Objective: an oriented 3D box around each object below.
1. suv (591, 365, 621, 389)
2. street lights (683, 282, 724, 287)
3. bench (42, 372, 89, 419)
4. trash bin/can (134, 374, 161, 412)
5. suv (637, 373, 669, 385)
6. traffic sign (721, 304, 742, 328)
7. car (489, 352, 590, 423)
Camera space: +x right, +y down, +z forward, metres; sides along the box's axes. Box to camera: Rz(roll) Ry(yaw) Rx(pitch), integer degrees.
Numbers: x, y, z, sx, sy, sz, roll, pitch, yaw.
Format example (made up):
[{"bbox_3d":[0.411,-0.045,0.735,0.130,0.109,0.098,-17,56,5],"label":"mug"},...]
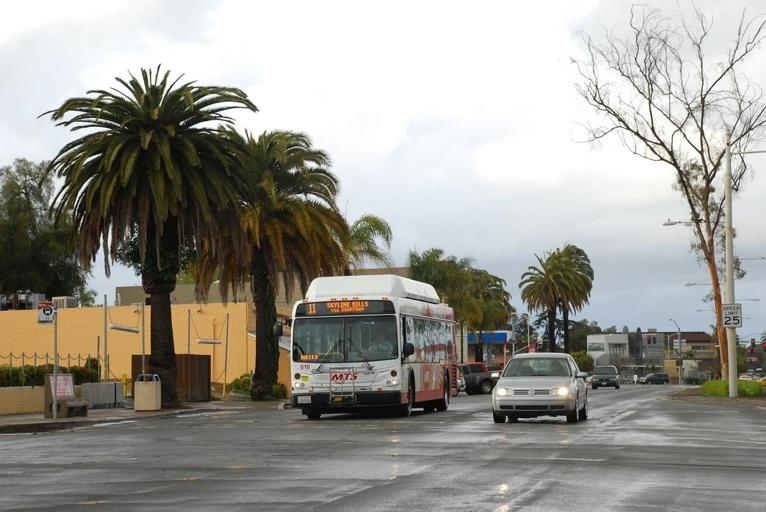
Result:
[{"bbox_3d":[18.465,10.026,75.874,2.009,2.008,3.461,-7,-12,18],"label":"suv"},{"bbox_3d":[10.943,0.948,30.478,1.479,0.155,0.389,1,-2,-1],"label":"street lights"},{"bbox_3d":[-11.861,5.186,34.379,0.795,1.660,1.532,-9,-8,13],"label":"bench"},{"bbox_3d":[-9.624,5.599,37.622,1.001,1.541,0.723,1,-10,-25],"label":"trash bin/can"},{"bbox_3d":[34.203,15.438,114.297,3.365,1.592,2.174,3,-5,6],"label":"suv"},{"bbox_3d":[16.342,2.759,42.931,0.778,1.131,1.023,-6,-11,18],"label":"traffic sign"},{"bbox_3d":[5.077,4.180,29.292,3.172,2.340,1.968,-2,-10,-8],"label":"car"}]
